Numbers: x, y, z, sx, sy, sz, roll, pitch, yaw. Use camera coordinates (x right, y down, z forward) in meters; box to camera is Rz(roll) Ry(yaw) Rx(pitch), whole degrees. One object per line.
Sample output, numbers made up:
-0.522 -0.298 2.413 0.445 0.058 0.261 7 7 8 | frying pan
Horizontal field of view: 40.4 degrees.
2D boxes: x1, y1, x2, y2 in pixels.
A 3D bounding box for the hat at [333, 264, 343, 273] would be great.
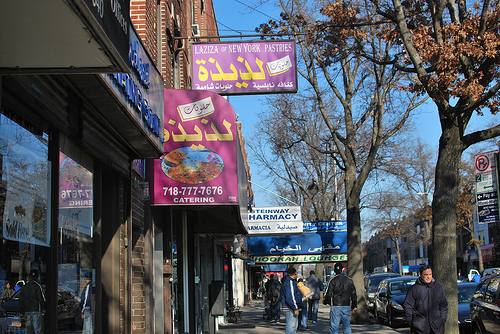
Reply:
2.264 2.592 17.509 0.175 0.305 0.270 2 15 12 | hat
